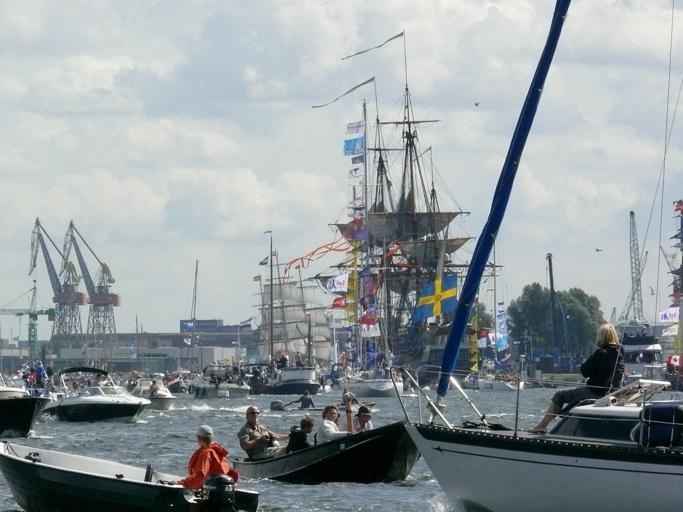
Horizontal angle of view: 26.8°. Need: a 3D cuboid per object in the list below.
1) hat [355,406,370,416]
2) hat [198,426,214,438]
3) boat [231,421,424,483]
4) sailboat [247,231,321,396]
[{"bbox_3d":[0.759,5.090,46.711,0.410,0.340,0.409,-3,-7,9],"label":"hat"},{"bbox_3d":[-3.722,4.868,39.410,0.403,0.324,0.671,-1,-8,-3],"label":"hat"},{"bbox_3d":[-0.664,6.914,47.835,6.946,1.872,2.510,-13,-21,36],"label":"boat"},{"bbox_3d":[-6.299,6.709,152.005,5.188,17.293,16.964,-6,3,-9],"label":"sailboat"}]
